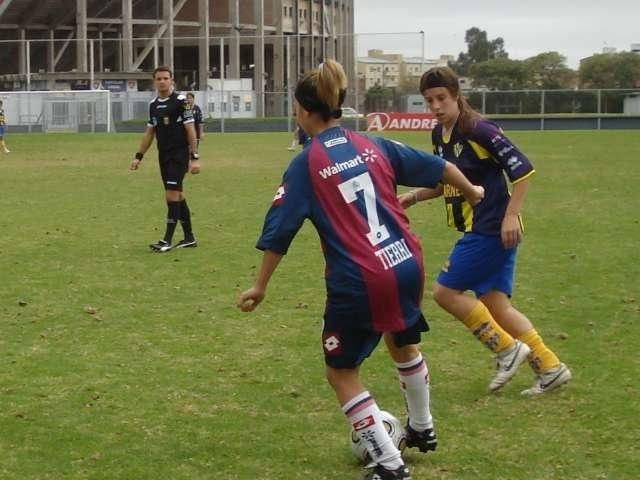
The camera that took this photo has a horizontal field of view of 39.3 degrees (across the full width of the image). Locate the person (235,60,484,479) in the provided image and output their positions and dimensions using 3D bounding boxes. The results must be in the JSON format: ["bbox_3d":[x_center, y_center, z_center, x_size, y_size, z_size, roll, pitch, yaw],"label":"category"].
[{"bbox_3d":[0.231,0.193,6.119,1.237,2.763,0.641,1,7,14],"label":"person"}]

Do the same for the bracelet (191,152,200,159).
[{"bbox_3d":[-1.623,-1.092,11.786,0.086,0.053,0.105,-4,5,-35],"label":"bracelet"}]

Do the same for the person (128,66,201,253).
[{"bbox_3d":[-1.968,-1.054,11.722,0.777,2.341,0.892,-2,7,-8],"label":"person"}]

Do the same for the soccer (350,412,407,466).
[{"bbox_3d":[0.404,1.381,6.405,0.455,0.419,0.415,-4,2,-1],"label":"soccer"}]

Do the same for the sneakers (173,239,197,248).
[{"bbox_3d":[-1.762,0.058,11.803,0.318,0.101,0.103,1,1,-5],"label":"sneakers"}]

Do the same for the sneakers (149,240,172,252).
[{"bbox_3d":[-2.029,0.091,11.482,0.254,0.102,0.135,1,3,-15],"label":"sneakers"}]
